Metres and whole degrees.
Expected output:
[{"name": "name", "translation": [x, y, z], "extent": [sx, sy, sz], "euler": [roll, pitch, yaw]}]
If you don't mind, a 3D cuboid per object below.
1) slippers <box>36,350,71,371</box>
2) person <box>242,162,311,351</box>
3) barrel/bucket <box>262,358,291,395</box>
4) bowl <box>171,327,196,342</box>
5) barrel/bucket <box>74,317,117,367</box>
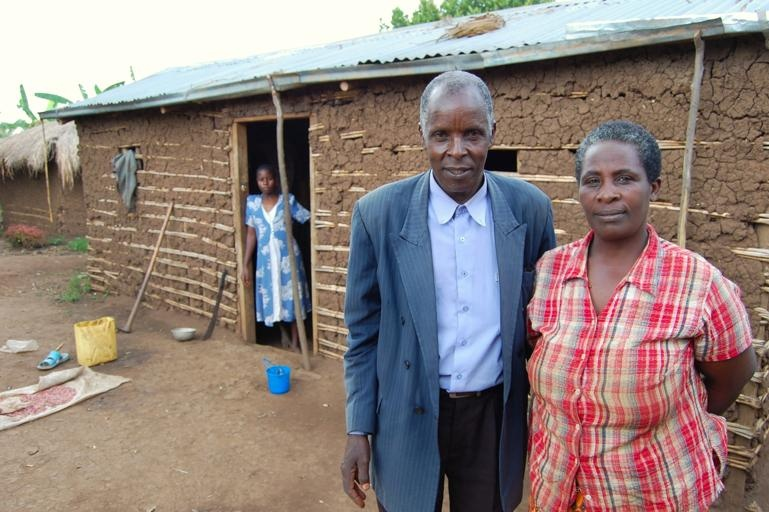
[{"name": "slippers", "translation": [-4.038, 1.284, 7.532], "extent": [0.153, 0.120, 0.372], "euler": [-2, 3, 4]}, {"name": "person", "translation": [-1.405, 0.036, 8.182], "extent": [1.007, 2.444, 0.616], "euler": [7, 10, 43]}, {"name": "barrel/bucket", "translation": [-1.197, 1.386, 6.967], "extent": [0.412, 0.376, 0.282], "euler": [-1, 0, 38]}, {"name": "bowl", "translation": [-2.711, 1.059, 8.339], "extent": [0.288, 0.154, 0.318], "euler": [-1, 6, -17]}, {"name": "barrel/bucket", "translation": [-3.469, 1.052, 7.488], "extent": [0.475, 0.543, 0.333], "euler": [-5, 8, -37]}]
